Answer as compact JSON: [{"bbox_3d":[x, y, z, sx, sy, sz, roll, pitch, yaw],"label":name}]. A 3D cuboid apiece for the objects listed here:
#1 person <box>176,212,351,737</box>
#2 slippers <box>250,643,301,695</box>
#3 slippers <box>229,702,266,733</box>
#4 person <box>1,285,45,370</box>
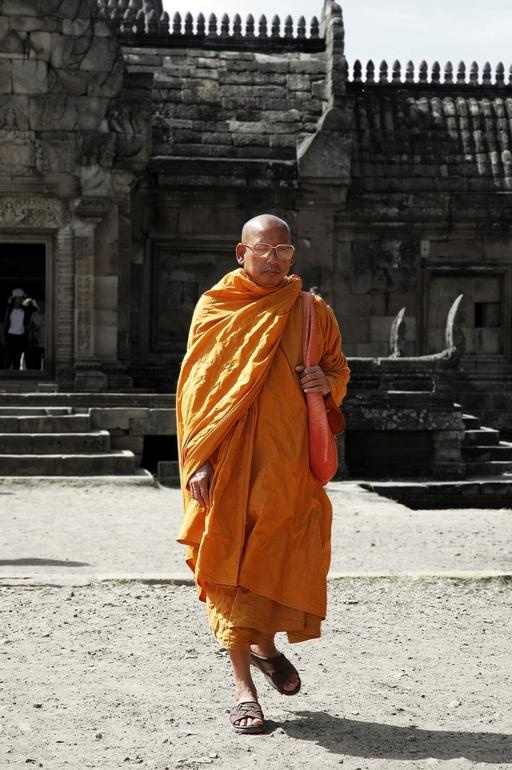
[{"bbox_3d":[0.024,0.390,8.651,0.866,2.388,0.866,-6,11,-31],"label":"person"},{"bbox_3d":[0.090,1.420,8.639,0.128,0.127,0.361,-14,19,-29],"label":"slippers"},{"bbox_3d":[-0.060,1.596,8.357,0.165,0.128,0.119,0,10,-1],"label":"slippers"},{"bbox_3d":[-2.763,-0.614,20.069,0.462,1.043,1.275,-2,10,-9],"label":"person"}]
